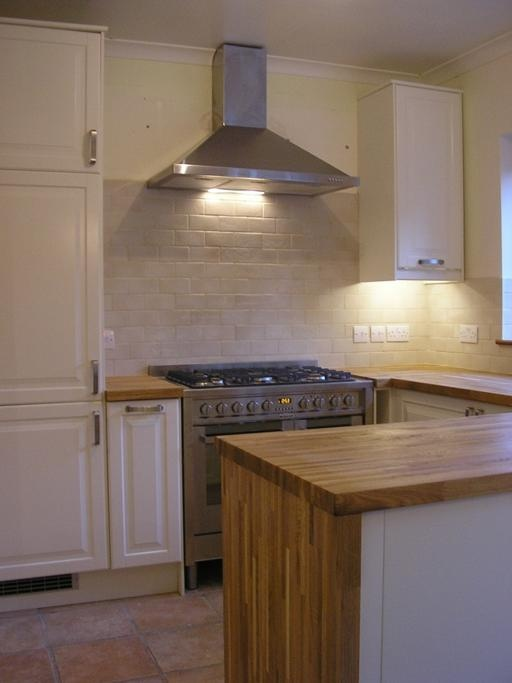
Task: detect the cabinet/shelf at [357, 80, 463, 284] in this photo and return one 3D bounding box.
[{"bbox_3d":[0.856,-0.871,3.339,0.579,0.896,0.355,0,0,11],"label":"cabinet/shelf"}]

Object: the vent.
[{"bbox_3d":[-0.079,-1.159,3.157,1.000,0.678,0.829,-4,11,-25],"label":"vent"}]

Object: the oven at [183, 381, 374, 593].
[{"bbox_3d":[0.267,0.707,3.001,1.036,0.892,0.520,-14,30,-39],"label":"oven"}]

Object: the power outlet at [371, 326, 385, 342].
[{"bbox_3d":[0.738,-0.050,3.662,0.099,0.089,0.011,-1,3,-26],"label":"power outlet"}]

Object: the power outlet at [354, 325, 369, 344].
[{"bbox_3d":[0.630,-0.045,3.616,0.114,0.104,0.015,0,1,-27],"label":"power outlet"}]
